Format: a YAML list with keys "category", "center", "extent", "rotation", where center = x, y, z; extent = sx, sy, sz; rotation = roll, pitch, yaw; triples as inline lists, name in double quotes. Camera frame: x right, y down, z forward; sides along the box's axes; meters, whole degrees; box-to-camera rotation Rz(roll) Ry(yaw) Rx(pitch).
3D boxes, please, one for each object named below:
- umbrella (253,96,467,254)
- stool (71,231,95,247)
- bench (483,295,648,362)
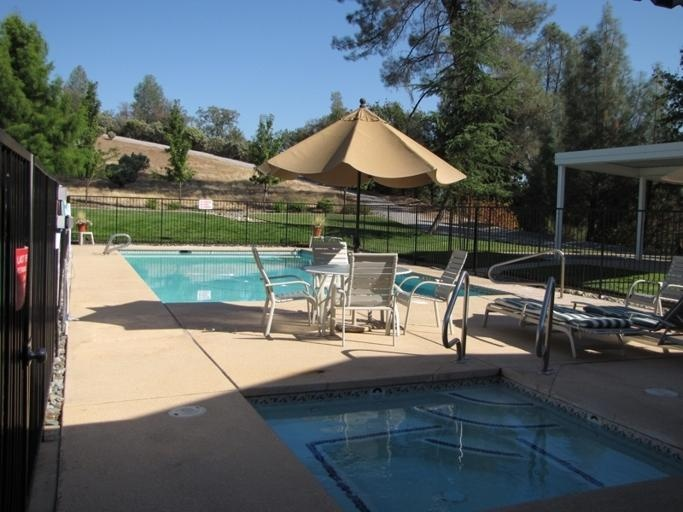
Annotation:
- category: "umbrella"
  center: [0.230, -1.152, 7.600]
  extent: [2.545, 2.139, 2.359]
  rotation: [3, 9, -8]
- category: "stool"
  center: [-10.327, -0.684, 21.063]
  extent: [0.847, 0.697, 0.882]
  rotation: [3, 1, -17]
- category: "bench"
  center: [2.673, 0.777, 6.871]
  extent: [0.734, 0.414, 1.665]
  rotation: [1, 1, -16]
